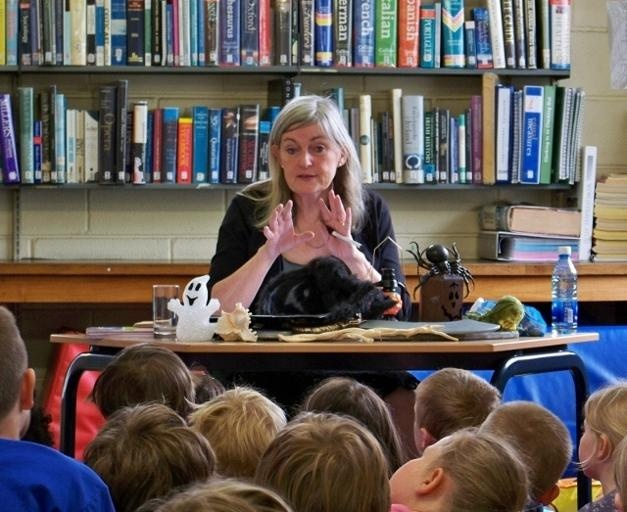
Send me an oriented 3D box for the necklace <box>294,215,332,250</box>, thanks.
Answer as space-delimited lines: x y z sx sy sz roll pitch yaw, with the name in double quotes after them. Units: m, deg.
0.007 -0.066 2.347 0.070 0.095 0.031 -2 14 25 "necklace"
